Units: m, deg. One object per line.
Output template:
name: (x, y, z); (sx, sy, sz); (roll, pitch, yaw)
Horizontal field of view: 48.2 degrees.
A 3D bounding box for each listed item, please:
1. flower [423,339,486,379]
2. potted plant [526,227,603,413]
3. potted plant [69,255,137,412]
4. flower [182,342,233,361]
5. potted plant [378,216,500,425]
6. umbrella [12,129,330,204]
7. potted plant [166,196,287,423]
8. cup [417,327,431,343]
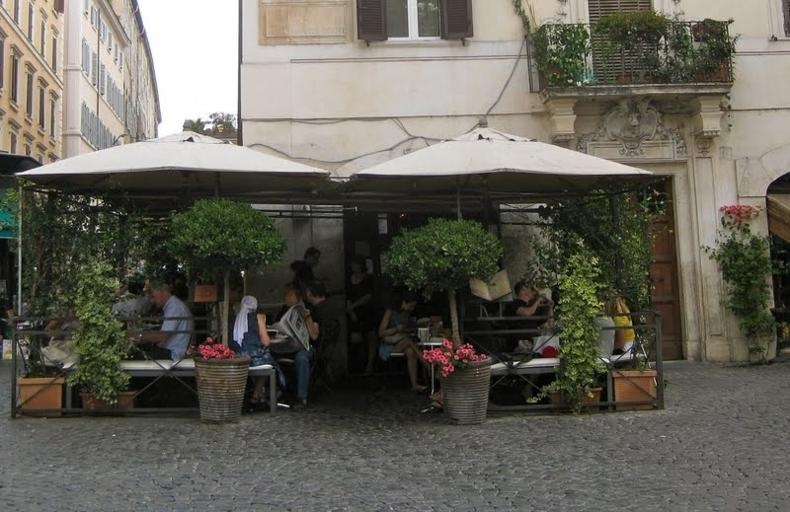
flower: (0.823, 1.490, 13.476); (0.710, 0.389, 0.679); (0, -2, -7)
potted plant: (2.840, 0.873, 14.628); (1.097, 2.597, 2.874); (2, 12, 10)
potted plant: (-4.490, 1.161, 13.476); (0.820, 2.069, 0.519); (1, 12, 8)
flower: (-2.842, 1.426, 13.428); (0.457, 0.196, 0.421); (2, -2, 44)
potted plant: (0.703, 0.700, 14.118); (2.482, 2.416, 2.137); (-8, -5, -3)
umbrella: (-3.496, -1.434, 14.520); (4.537, 1.206, 2.051); (-2, 12, -10)
potted plant: (-2.575, 0.279, 13.554); (1.669, 2.288, 0.656); (-3, 12, -13)
cup: (0.454, 1.248, 14.194); (0.312, 0.187, 0.456); (0, -3, 3)
